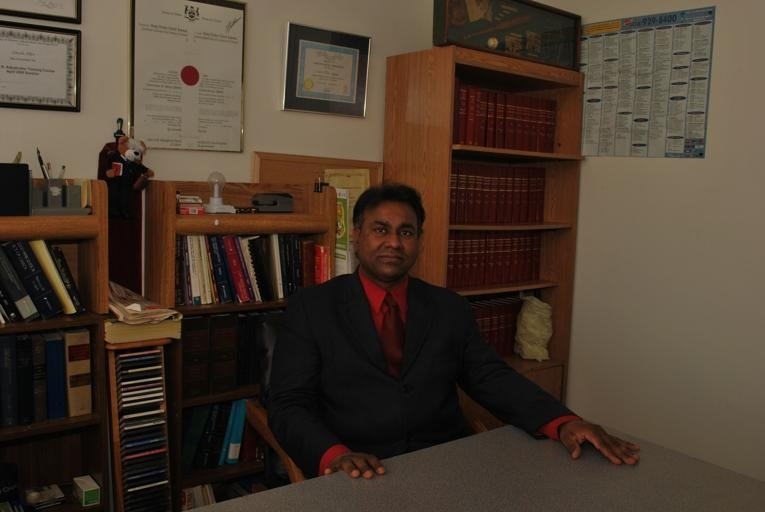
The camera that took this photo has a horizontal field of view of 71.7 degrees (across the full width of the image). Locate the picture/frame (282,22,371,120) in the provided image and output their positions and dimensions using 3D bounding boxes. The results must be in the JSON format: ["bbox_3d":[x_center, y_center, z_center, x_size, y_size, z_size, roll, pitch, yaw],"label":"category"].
[{"bbox_3d":[-0.385,-1.205,3.410,0.704,0.596,0.072,3,2,-34],"label":"picture/frame"}]

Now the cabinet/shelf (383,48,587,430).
[{"bbox_3d":[1.029,-0.271,3.857,0.940,2.118,0.567,16,32,37],"label":"cabinet/shelf"}]

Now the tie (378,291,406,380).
[{"bbox_3d":[0.047,0.315,2.313,0.098,0.404,0.042,-8,34,-5],"label":"tie"}]
